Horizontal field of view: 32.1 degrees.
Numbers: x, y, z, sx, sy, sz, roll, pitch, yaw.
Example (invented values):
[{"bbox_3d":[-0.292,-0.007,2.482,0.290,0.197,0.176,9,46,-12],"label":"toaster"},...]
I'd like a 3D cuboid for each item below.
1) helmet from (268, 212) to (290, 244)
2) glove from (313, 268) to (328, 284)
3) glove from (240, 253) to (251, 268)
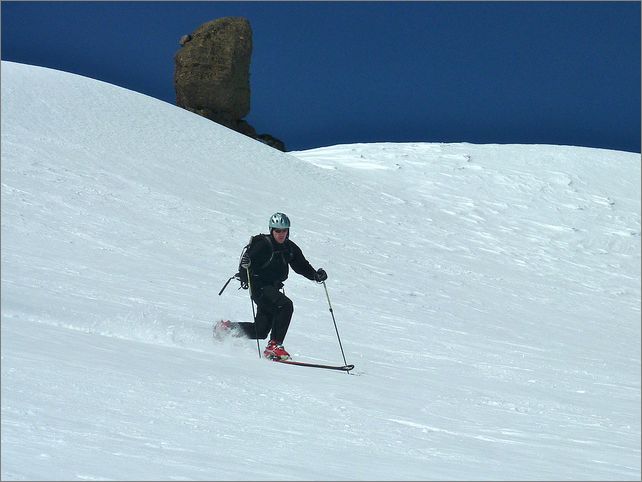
[{"bbox_3d":[-0.830,-0.300,23.163,0.479,0.431,0.515,-1,-7,6],"label":"helmet"},{"bbox_3d":[0.030,0.752,23.476,0.330,0.261,0.321,-7,-11,-33],"label":"glove"},{"bbox_3d":[-1.570,0.443,23.065,0.251,0.252,0.284,1,4,1],"label":"glove"}]
